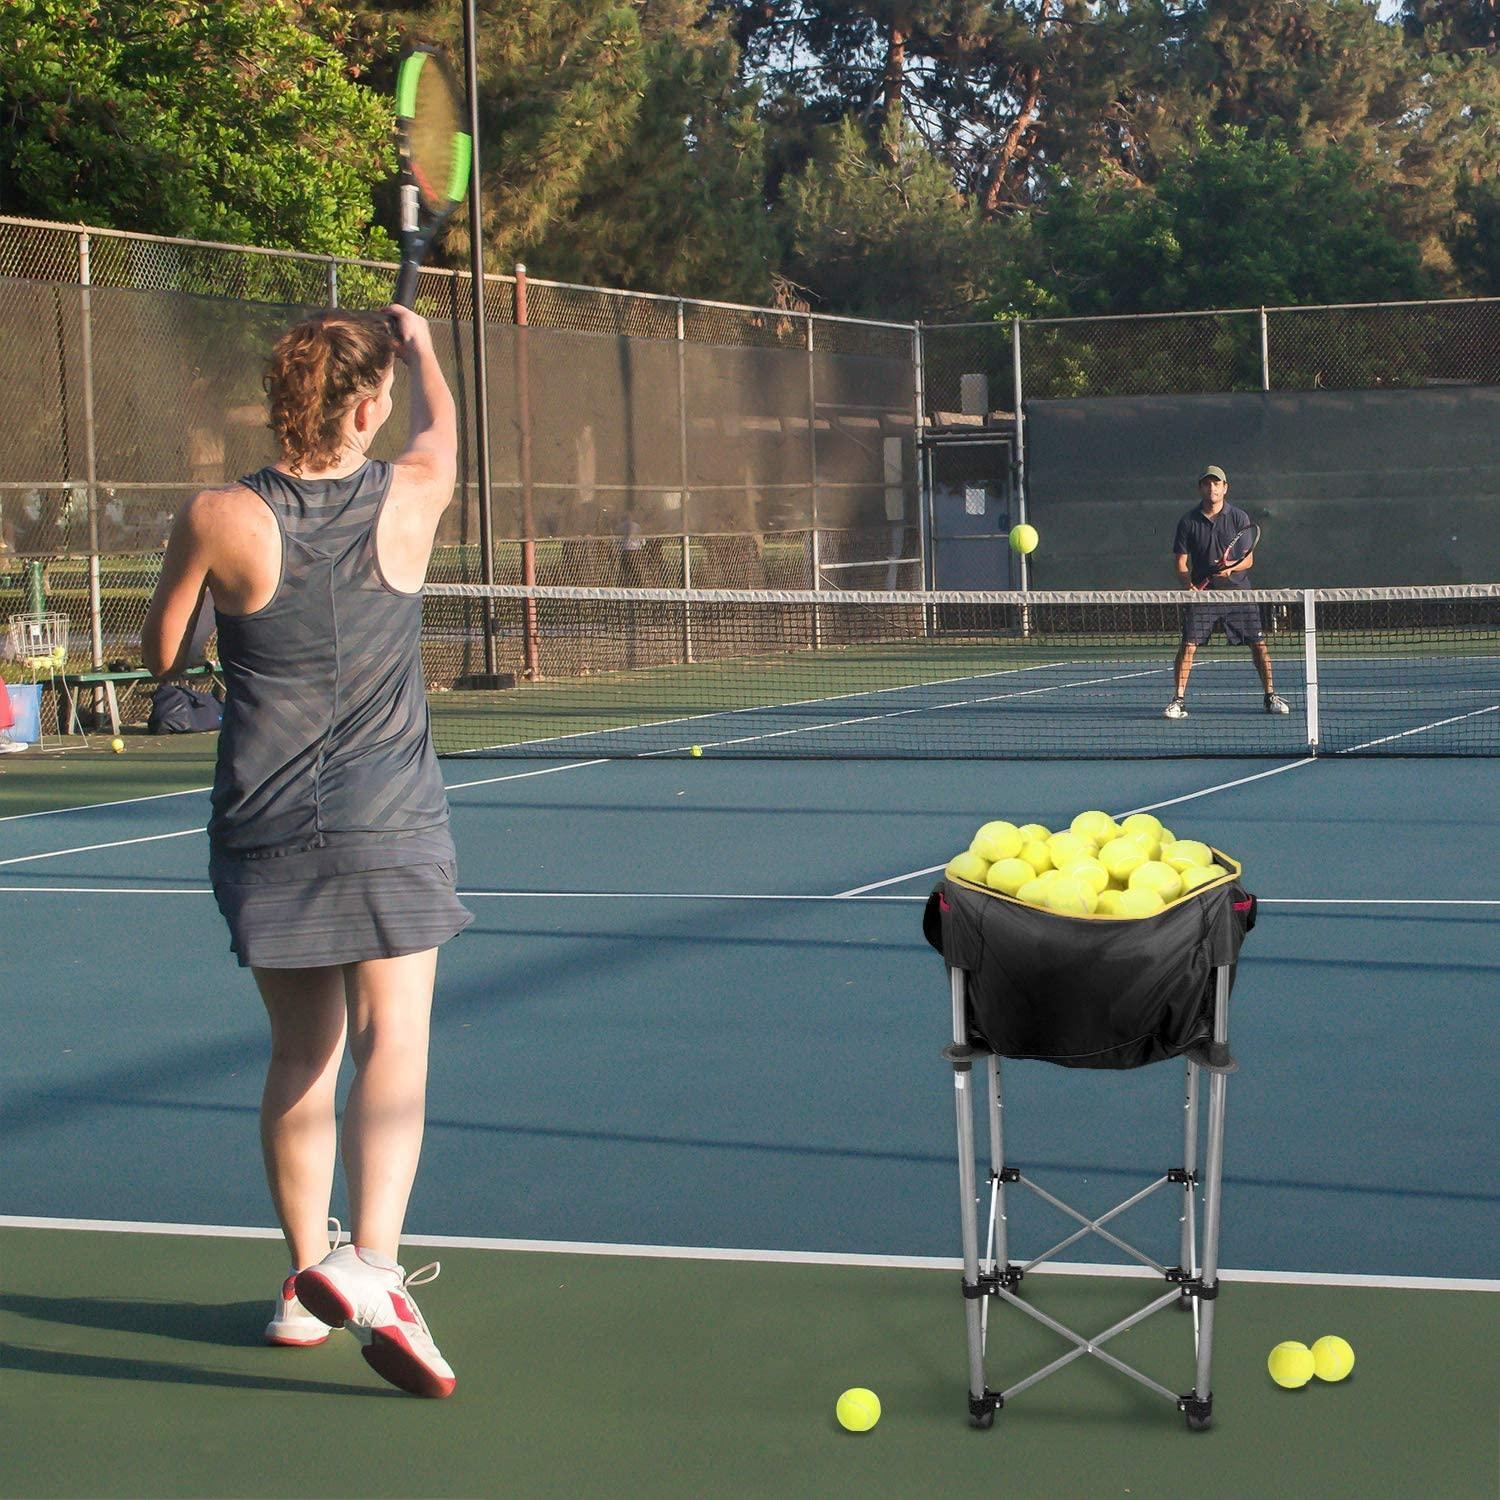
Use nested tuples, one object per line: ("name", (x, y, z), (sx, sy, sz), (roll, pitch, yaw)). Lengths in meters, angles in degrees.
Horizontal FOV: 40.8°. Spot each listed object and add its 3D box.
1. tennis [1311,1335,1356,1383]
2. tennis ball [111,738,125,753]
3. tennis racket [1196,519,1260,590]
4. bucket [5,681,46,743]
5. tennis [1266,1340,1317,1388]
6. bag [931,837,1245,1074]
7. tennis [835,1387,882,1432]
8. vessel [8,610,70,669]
("tennis", (0.976, 1.024, 3.384), (0.057, 0.086, 0.066), (-1, 9, 0))
("tennis ball", (-4.170, -0.026, 13.199), (0.062, 0.088, 0.064), (-16, -3, -1))
("tennis racket", (3.303, -1.297, 13.724), (0.033, 0.308, 0.659), (-2, -28, -31))
("bucket", (-4.726, -0.223, 13.051), (0.155, 0.396, 0.552), (-2, 5, -6))
("tennis", (0.906, 1.033, 3.378), (0.079, 0.063, 0.071), (-1, 5, 16))
("bag", (0.509, 0.302, 3.116), (0.307, 0.221, 0.314), (-1, 1, -1))
("tennis", (0.174, 1.086, 3.321), (0.075, 0.051, 0.080), (0, 5, 19))
("vessel", (-4.529, -0.716, 12.770), (0.257, 0.430, 0.416), (1, -7, -23))
